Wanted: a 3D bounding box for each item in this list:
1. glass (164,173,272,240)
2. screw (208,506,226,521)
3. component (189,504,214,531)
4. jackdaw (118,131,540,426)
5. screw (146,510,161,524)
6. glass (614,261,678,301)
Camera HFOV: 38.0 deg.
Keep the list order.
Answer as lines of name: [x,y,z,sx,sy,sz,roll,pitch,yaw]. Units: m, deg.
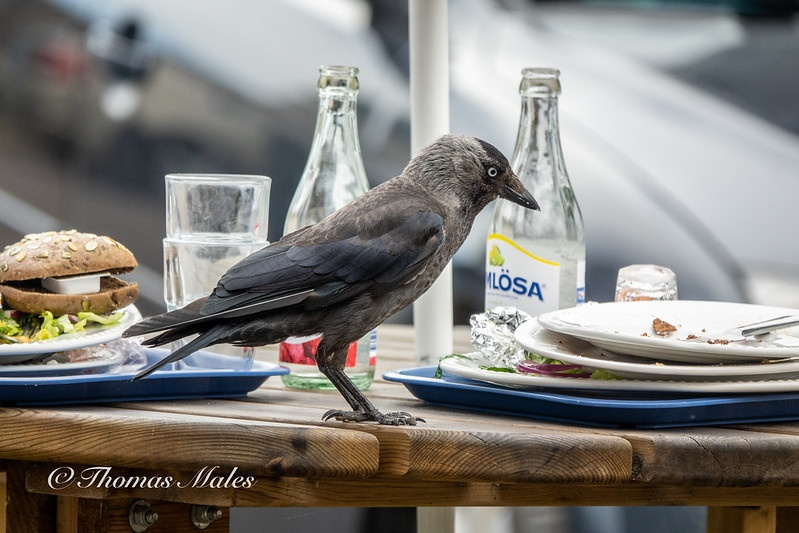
glass: [-0.367,-0.118,2.352,0.181,0.088,0.164,2,2,15]
screw: [-0.359,0.484,2.257,0.020,0.035,0.043,-13,-22,42]
component: [-0.383,0.486,2.250,0.053,0.043,0.035,12,-19,-42]
jackdaw: [-0.122,0.023,2.282,0.895,0.478,0.264,-5,-1,8]
screw: [-0.467,0.480,2.223,0.028,0.022,0.025,-16,-38,6]
glass: [0.507,0.029,2.378,0.105,0.076,0.091,0,5,-4]
